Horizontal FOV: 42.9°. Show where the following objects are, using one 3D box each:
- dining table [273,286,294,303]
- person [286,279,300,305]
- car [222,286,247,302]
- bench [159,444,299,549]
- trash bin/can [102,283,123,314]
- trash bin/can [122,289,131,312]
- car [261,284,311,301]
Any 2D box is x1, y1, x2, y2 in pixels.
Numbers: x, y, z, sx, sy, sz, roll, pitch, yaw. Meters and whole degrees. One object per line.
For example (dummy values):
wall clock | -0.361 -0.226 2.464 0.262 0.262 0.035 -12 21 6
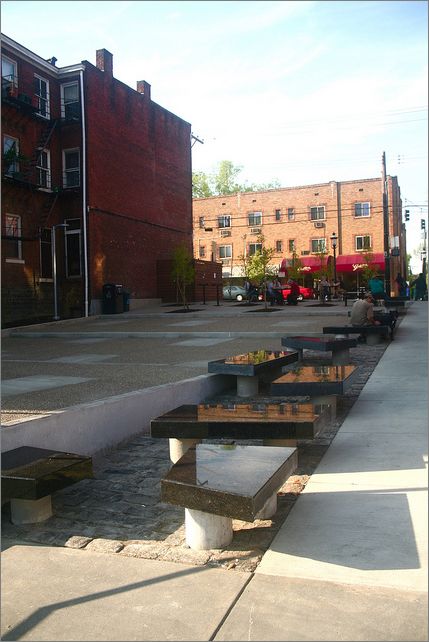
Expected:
dining table | 3.636 -1.428 30.423 1.568 0.774 1.022 2 6 7
person | 4.357 -1.598 30.185 0.573 1.367 2.037 -3 3 8
car | 1.485 -2.072 40.932 1.635 0.797 0.957 -2 5 11
bench | 0.099 1.021 3.213 0.734 0.374 1.084 -2 1 18
trash bin/can | -4.832 -1.026 25.634 0.943 1.358 0.789 -4 3 -12
trash bin/can | -4.317 -0.944 26.461 0.276 0.981 0.519 -4 3 -1
car | 5.689 -1.926 39.158 3.236 1.068 1.402 1 4 2
